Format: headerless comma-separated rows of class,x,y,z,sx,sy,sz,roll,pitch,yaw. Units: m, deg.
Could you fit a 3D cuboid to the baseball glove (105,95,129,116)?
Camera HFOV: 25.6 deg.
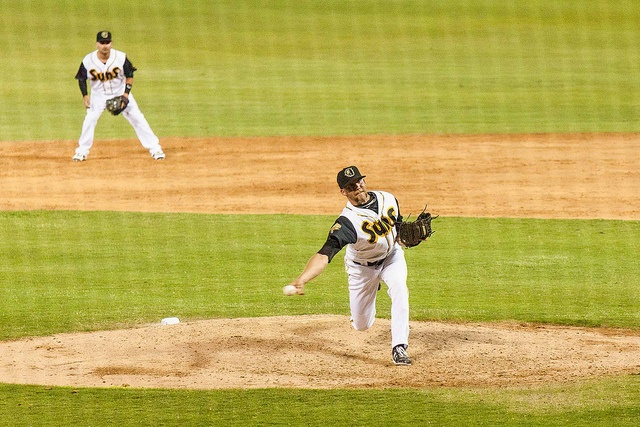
baseball glove,-5.067,-2.695,35.261,0.579,0.237,0.433,-38,59,-21
